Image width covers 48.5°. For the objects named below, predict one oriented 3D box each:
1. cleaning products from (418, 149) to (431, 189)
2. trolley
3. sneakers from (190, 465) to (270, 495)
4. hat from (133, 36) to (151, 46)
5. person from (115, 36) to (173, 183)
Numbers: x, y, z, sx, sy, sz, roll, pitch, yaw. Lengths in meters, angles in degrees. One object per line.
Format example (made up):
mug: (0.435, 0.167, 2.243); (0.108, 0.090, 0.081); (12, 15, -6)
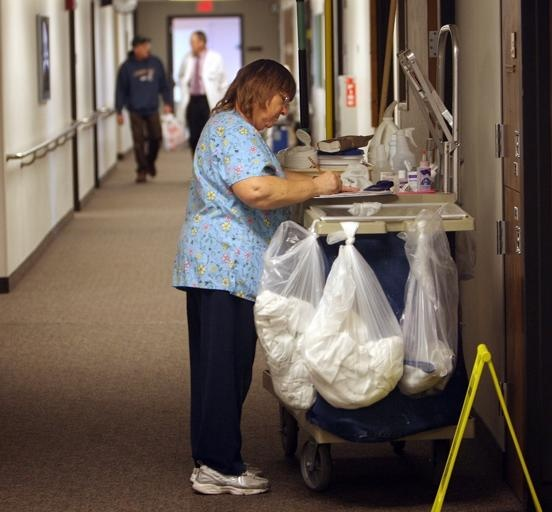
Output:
cleaning products: (0.525, -0.288, 2.149); (0.042, 0.153, 0.041); (2, -16, 5)
trolley: (0.342, -0.001, 2.093); (0.721, 1.605, 0.716); (-1, 5, -3)
sneakers: (-0.160, 0.749, 2.082); (0.245, 0.145, 0.109); (-1, -1, -4)
hat: (-1.333, -2.111, 5.989); (0.122, 0.077, 0.091); (-15, 10, -10)
person: (-1.377, -1.510, 6.314); (0.461, 1.486, 0.473); (-9, 36, -20)
